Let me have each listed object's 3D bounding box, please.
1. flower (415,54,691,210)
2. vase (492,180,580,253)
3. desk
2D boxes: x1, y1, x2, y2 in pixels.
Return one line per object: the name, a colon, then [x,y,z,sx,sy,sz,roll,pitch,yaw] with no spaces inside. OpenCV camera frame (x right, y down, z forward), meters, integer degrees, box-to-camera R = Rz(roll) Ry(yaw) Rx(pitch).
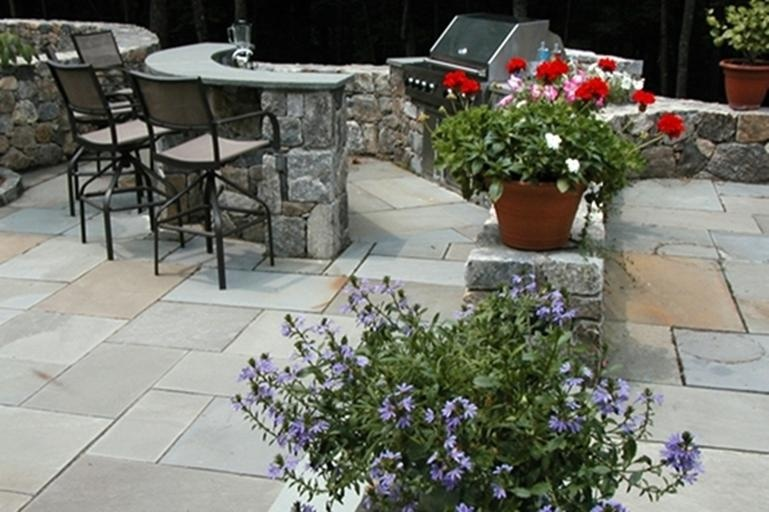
flower: [0.993,-0.627,2.975,1.315,0.644,0.985,9,-4,1]
vase: [0.778,-0.229,3.020,0.386,0.231,0.376,3,17,10]
desk: [-1.284,-0.779,4.704,1.957,1.323,1.195,15,24,26]
